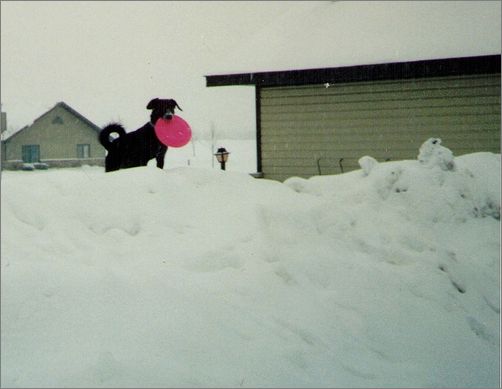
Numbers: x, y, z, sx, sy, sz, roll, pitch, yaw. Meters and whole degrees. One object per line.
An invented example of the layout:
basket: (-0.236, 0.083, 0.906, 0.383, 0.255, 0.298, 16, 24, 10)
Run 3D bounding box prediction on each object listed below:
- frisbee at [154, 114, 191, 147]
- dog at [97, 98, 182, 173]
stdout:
frisbee: (-1.242, -1.019, 8.801, 0.574, 0.690, 0.070, 8, -19, -19)
dog: (-1.832, -0.839, 8.922, 1.287, 1.229, 0.507, -9, 2, 12)
